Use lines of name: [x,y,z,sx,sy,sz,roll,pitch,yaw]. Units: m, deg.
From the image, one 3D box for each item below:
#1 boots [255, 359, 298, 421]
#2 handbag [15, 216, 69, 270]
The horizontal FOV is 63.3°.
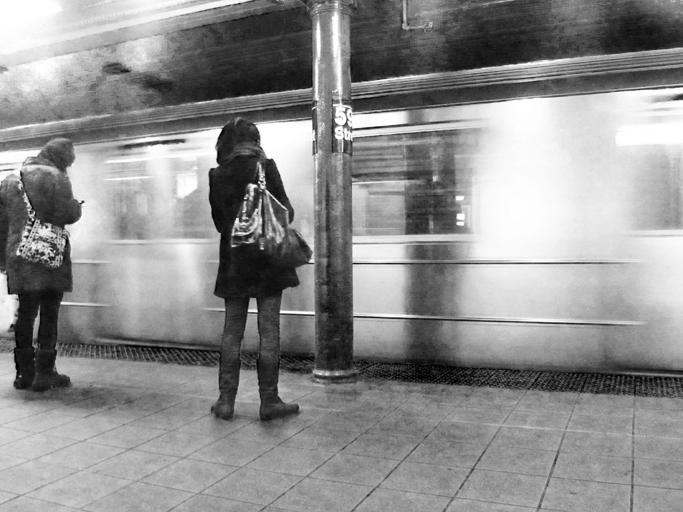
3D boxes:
boots: [-0.461,0.988,4.163,0.316,0.446,0.175,-2,5,-13]
handbag: [-2.640,-0.109,4.902,0.440,0.418,0.139,26,-17,-33]
